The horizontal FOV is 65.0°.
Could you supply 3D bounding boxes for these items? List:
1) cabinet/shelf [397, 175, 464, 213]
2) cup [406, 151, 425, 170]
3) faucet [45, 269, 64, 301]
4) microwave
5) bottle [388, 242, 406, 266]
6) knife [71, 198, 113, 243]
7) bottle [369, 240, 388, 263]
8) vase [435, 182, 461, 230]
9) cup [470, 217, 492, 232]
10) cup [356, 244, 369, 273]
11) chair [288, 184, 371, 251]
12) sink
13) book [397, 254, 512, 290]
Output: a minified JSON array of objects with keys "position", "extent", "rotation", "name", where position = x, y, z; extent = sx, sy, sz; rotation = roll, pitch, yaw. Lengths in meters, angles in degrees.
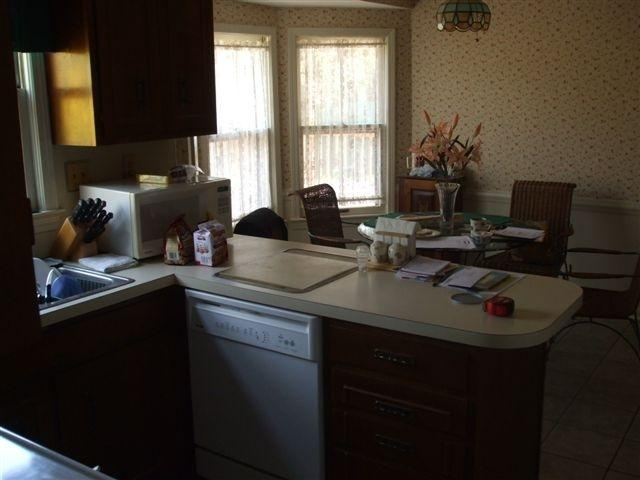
[{"position":[1.165,-0.371,5.182],"extent":[0.564,0.564,0.426],"rotation":[8,14,42],"name":"cabinet/shelf"},{"position":[0.950,-0.779,4.950],"extent":[0.201,0.208,0.150],"rotation":[12,19,43],"name":"cup"},{"position":[-1.181,0.199,2.226],"extent":[0.037,0.153,0.085],"rotation":[-19,-20,33],"name":"faucet"},{"position":[-0.792,-0.111,2.596],"extent":[0.747,0.374,0.359],"rotation":[-5,11,-26],"name":"microwave"},{"position":[0.357,0.067,2.351],"extent":[0.073,0.100,0.096],"rotation":[0,-17,0],"name":"bottle"},{"position":[-1.110,-0.106,2.431],"extent":[0.147,0.249,0.071],"rotation":[17,15,-28],"name":"knife"},{"position":[0.281,0.053,2.412],"extent":[0.091,0.131,0.098],"rotation":[-1,0,0],"name":"bottle"},{"position":[0.947,-0.258,3.756],"extent":[0.155,0.336,0.379],"rotation":[3,10,13],"name":"vase"},{"position":[1.159,-0.111,3.615],"extent":[0.125,0.091,0.087],"rotation":[-5,2,-41],"name":"cup"},{"position":[0.203,0.078,2.350],"extent":[0.063,0.113,0.148],"rotation":[1,10,4],"name":"cup"},{"position":[0.003,-0.169,4.385],"extent":[0.425,0.602,0.772],"rotation":[1,10,3],"name":"chair"},{"position":[-0.997,0.196,2.142],"extent":[0.291,0.304,0.203],"rotation":[9,14,27],"name":"sink"},{"position":[0.590,0.138,2.221],"extent":[0.440,0.065,0.332],"rotation":[8,13,35],"name":"book"}]
